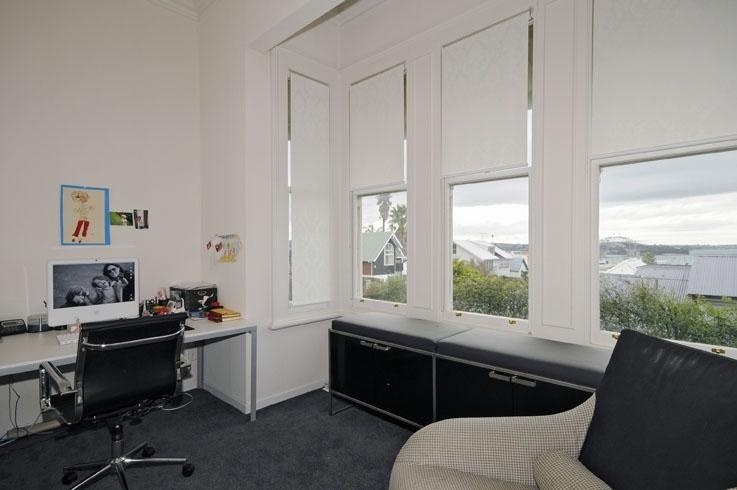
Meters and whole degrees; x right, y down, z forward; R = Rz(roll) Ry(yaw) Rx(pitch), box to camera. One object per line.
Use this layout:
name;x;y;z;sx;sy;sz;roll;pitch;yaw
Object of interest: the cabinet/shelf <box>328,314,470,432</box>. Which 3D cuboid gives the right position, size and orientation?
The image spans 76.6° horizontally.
cabinet/shelf;0.297;0.862;4.598;0.918;0.967;1.533;3;-2;-44
